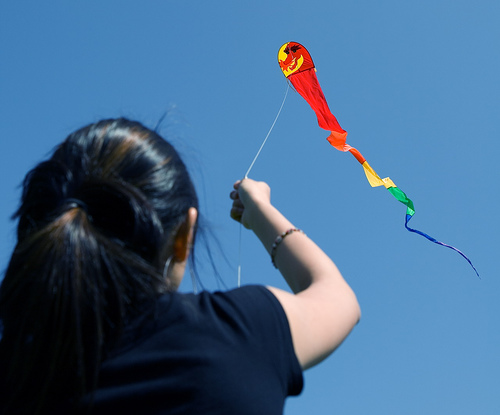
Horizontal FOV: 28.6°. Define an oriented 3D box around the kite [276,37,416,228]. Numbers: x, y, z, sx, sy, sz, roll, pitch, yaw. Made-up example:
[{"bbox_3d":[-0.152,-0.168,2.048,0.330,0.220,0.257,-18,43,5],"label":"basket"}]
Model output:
[{"bbox_3d":[0.301,-0.343,3.775,0.801,0.130,0.105,58,-32,-1],"label":"kite"}]
